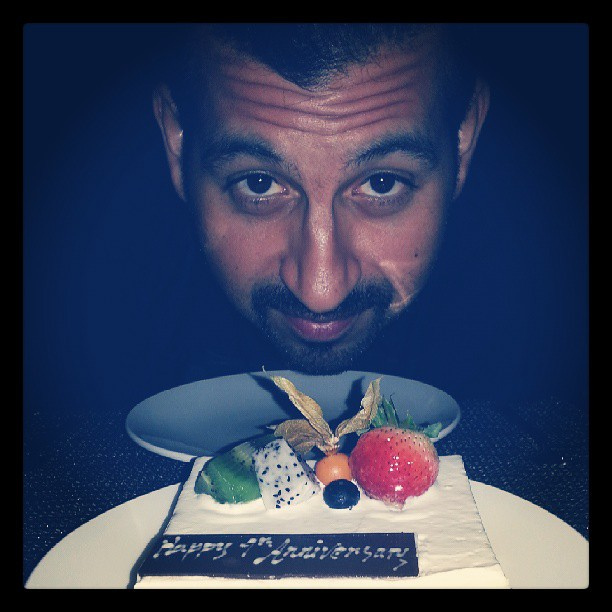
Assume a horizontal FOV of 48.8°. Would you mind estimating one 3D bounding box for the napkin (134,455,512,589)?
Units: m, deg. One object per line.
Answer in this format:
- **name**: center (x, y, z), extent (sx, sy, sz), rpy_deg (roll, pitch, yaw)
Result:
- **napkin**: center (0.051, 0.834, 2.498), extent (1.235, 0.096, 0.602), rpy_deg (-1, 16, 1)
